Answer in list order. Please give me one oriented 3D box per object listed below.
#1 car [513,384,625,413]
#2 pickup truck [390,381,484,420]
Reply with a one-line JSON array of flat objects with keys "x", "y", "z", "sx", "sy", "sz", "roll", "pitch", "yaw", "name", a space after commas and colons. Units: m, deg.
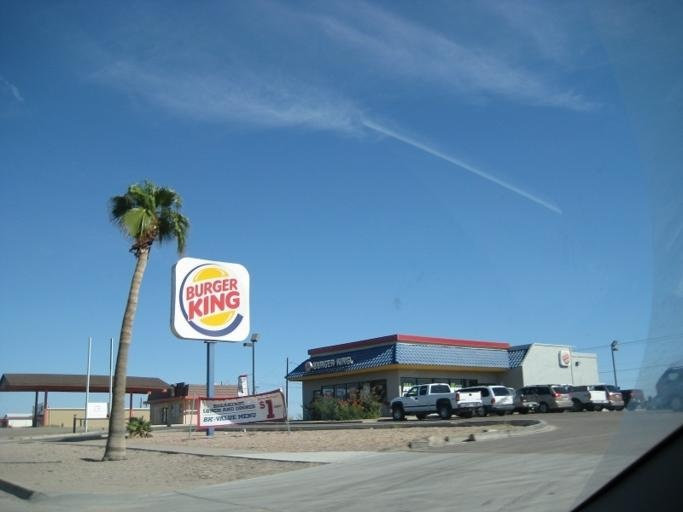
[{"x": 13.083, "y": 8.326, "z": 33.928, "sx": 1.630, "sy": 1.573, "sz": 5.478, "roll": 8, "pitch": -15, "yaw": -33, "name": "car"}, {"x": 5.533, "y": 8.549, "z": 34.130, "sx": 4.791, "sy": 1.773, "sz": 2.348, "roll": -8, "pitch": -13, "yaw": 41, "name": "pickup truck"}]
